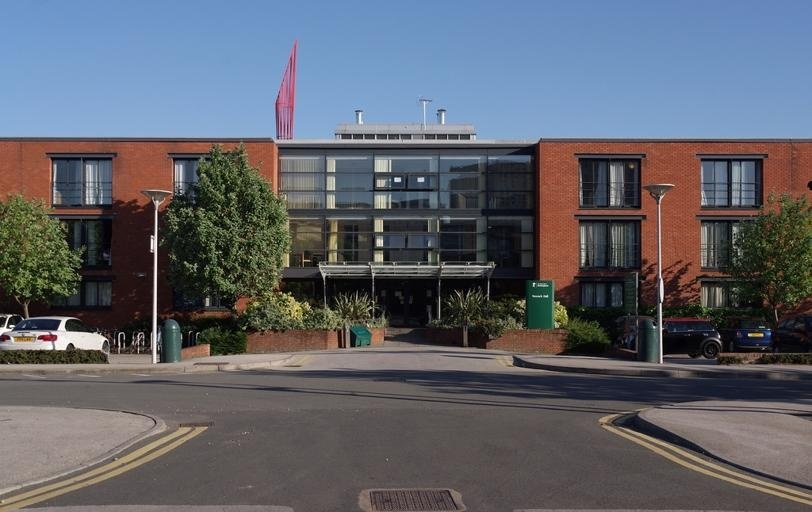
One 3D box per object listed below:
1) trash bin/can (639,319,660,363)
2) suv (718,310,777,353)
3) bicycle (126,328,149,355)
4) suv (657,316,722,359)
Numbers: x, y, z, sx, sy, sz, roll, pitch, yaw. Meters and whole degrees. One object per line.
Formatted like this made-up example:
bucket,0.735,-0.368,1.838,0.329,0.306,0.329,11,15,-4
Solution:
trash bin/can,10.320,3.615,47.388,0.904,1.745,0.861,0,-2,16
suv,15.857,3.642,51.864,2.304,1.576,0.904,-1,-2,16
bicycle,-13.313,4.292,56.071,0.913,0.966,1.768,2,-6,-30
suv,13.117,3.734,51.550,2.757,1.169,1.548,1,-6,2
